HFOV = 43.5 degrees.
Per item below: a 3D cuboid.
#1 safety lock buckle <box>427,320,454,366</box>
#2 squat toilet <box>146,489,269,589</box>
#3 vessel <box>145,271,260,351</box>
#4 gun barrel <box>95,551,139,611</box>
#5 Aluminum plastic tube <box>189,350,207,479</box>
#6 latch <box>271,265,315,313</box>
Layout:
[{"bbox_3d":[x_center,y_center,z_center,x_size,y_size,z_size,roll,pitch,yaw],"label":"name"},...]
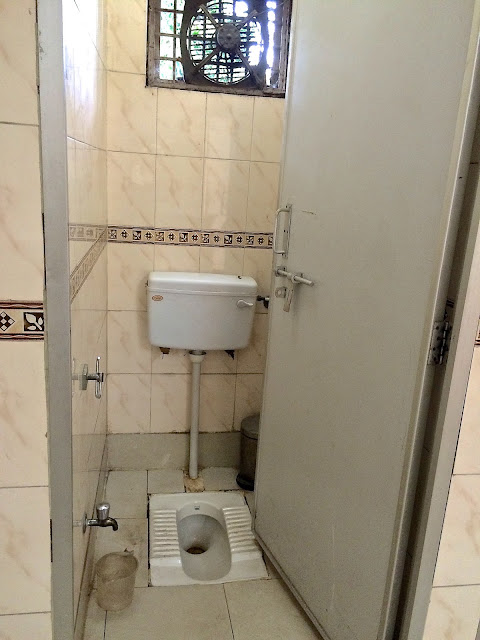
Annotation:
[{"bbox_3d":[0.426,0.050,1.281,0.040,0.099,0.025,8,14,20],"label":"safety lock buckle"},{"bbox_3d":[-0.148,0.874,2.309,0.448,0.179,0.545,5,19,0],"label":"squat toilet"},{"bbox_3d":[-0.145,-0.023,2.386,0.453,0.373,0.359,2,11,-12],"label":"vessel"},{"bbox_3d":[-0.395,0.821,1.907,0.132,0.162,0.201,0,14,-15],"label":"gun barrel"},{"bbox_3d":[-0.199,0.412,2.657,0.061,0.597,0.114,3,13,-3],"label":"Aluminum plastic tube"},{"bbox_3d":[0.158,-0.086,1.876,0.030,0.123,0.172,3,14,-39],"label":"latch"}]
